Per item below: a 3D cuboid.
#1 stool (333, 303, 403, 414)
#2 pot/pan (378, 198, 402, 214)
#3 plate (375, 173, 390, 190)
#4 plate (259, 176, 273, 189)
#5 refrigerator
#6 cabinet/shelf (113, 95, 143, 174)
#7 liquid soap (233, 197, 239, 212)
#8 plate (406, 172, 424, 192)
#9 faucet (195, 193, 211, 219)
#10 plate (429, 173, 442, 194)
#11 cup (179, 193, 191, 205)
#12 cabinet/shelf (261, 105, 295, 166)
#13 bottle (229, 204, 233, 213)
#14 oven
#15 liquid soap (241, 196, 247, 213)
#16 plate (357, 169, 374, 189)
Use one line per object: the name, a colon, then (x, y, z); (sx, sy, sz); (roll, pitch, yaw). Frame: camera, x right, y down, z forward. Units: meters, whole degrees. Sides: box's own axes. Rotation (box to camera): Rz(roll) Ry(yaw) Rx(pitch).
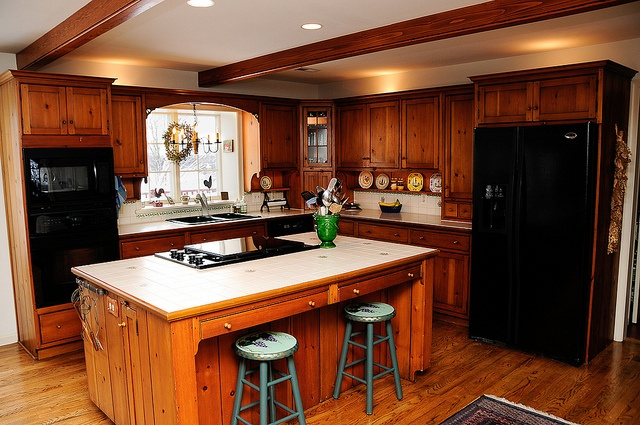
stool: (0.471, 1.305, 3.958); (0.667, 0.868, 0.548); (-13, 19, -39)
pot/pan: (1.065, -0.091, 6.448); (0.251, 0.131, 0.206); (2, 4, 30)
plate: (0.975, -0.488, 6.685); (0.243, 0.230, 0.057); (13, 3, 37)
plate: (-0.884, -0.475, 6.824); (0.201, 0.189, 0.046); (-6, 1, -41)
refrigerator: (2.286, 0.298, 4.598); (1.335, 2.473, 0.423); (9, 18, 32)
cabinet/shelf: (-2.432, -0.952, 5.359); (0.444, 1.026, 0.238); (-8, 17, -27)
liquid soap: (-1.329, -0.098, 6.661); (0.096, 0.174, 0.247); (-3, 14, -8)
plate: (1.419, -0.452, 6.302); (0.030, 0.281, 0.294); (-1, 6, -39)
faucet: (-1.747, -0.114, 6.259); (0.166, 0.332, 0.349); (-5, 15, -16)
plate: (1.673, -0.415, 6.131); (0.122, 0.277, 0.206); (-2, 15, -5)
cup: (-2.036, -0.196, 6.303); (0.195, 0.218, 0.126); (-2, 3, -30)
cabinet/shelf: (-0.658, -1.186, 6.633); (0.204, 0.936, 0.687); (13, 20, 42)
bottle: (-1.386, -0.050, 6.591); (0.061, 0.121, 0.132); (-7, 16, -23)
oven: (-3.067, 0.270, 4.940); (0.771, 2.100, 0.990); (0, 5, 36)
liquid soap: (-1.213, -0.121, 6.686); (0.089, 0.234, 0.186); (-3, 15, -8)
plate: (0.725, -0.524, 6.871); (0.106, 0.297, 0.308); (-15, 20, -42)
